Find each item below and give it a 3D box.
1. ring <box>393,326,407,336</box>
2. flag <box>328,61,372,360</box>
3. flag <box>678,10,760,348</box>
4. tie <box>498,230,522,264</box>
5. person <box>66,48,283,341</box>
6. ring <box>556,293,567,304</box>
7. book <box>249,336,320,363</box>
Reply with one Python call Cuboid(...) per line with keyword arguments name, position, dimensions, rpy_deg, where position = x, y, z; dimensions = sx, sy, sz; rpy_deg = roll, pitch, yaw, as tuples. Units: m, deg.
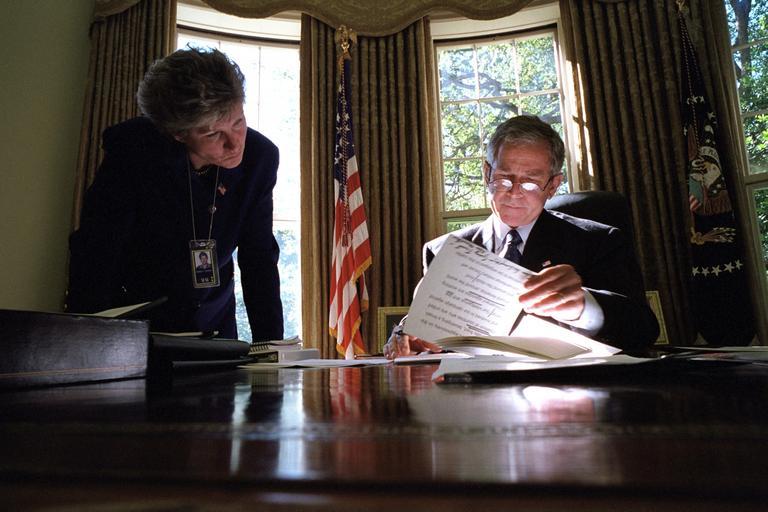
Cuboid(name="ring", position=(0.048, 0.247, 1.918), dimensions=(0.038, 0.024, 0.057), rpy_deg=(-25, 5, -14))
Cuboid(name="flag", position=(-0.250, -0.366, 3.921), dimensions=(0.283, 1.627, 0.612), rpy_deg=(-2, 1, 11))
Cuboid(name="flag", position=(2.024, -0.572, 3.561), dimensions=(0.364, 2.143, 0.483), rpy_deg=(-1, 1, 26))
Cuboid(name="tie", position=(0.450, -0.037, 2.059), dimensions=(0.054, 0.057, 0.204), rpy_deg=(-5, 31, 13))
Cuboid(name="person", position=(-0.638, -0.163, 1.838), dimensions=(0.681, 0.887, 0.379), rpy_deg=(-3, 1, -37))
Cuboid(name="ring", position=(0.448, 0.108, 1.494), dimensions=(0.026, 0.024, 0.026), rpy_deg=(-1, 1, 0))
Cuboid(name="book", position=(-0.271, 0.270, 1.593), dimensions=(0.187, 0.061, 0.287), rpy_deg=(-2, 2, -10))
